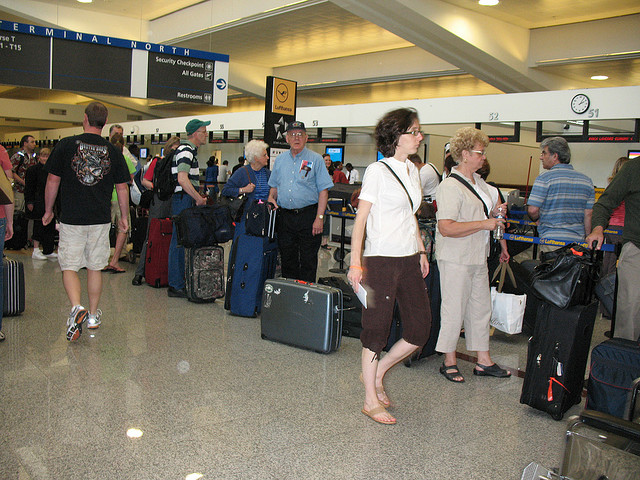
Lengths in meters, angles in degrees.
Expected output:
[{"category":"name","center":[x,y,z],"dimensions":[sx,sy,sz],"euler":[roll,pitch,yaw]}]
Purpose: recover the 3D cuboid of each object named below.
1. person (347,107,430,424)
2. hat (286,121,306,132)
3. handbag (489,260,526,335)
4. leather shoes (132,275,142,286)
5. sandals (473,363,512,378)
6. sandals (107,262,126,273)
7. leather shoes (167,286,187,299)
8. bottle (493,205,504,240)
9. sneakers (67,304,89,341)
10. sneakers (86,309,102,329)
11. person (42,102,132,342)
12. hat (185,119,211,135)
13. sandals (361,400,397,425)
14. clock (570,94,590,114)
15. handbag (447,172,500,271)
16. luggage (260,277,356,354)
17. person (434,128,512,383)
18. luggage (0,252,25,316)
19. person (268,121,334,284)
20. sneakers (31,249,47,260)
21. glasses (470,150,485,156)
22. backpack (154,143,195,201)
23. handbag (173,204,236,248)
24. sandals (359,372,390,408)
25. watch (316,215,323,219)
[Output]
[{"category":"person","center":[0.450,0.161,3.064],"dimensions":[0.562,1.975,0.430],"euler":[3,8,-1]},{"category":"hat","center":[-0.242,-1.176,4.977],"dimensions":[0.176,0.111,0.227],"euler":[2,8,-8]},{"category":"handbag","center":[1.587,0.489,4.155],"dimensions":[0.218,0.555,0.447],"euler":[-3,6,-12]},{"category":"leather shoes","center":[-2.326,0.500,6.162],"dimensions":[0.119,0.114,0.237],"euler":[0,9,-20]},{"category":"sandals","center":[1.376,1.047,3.851],"dimensions":[0.226,0.090,0.125],"euler":[0,1,1]},{"category":"sandals","center":[-2.877,0.392,6.825],"dimensions":[0.227,0.091,0.118],"euler":[-1,10,-22]},{"category":"leather shoes","center":[-1.687,0.625,5.699],"dimensions":[0.286,0.120,0.098],"euler":[-1,1,-11]},{"category":"bottle","center":[1.354,-0.114,3.660],"dimensions":[0.064,0.252,0.361],"euler":[6,8,19]},{"category":"sneakers","center":[-2.012,0.680,4.067],"dimensions":[0.160,0.335,0.155],"euler":[23,5,43]},{"category":"sneakers","center":[-2.024,0.713,4.373],"dimensions":[0.079,0.096,0.213],"euler":[-1,11,-6]},{"category":"person","center":[-2.023,-0.180,4.232],"dimensions":[0.536,2.025,0.676],"euler":[7,9,28]},{"category":"hat","center":[-1.464,-1.353,5.793],"dimensions":[0.264,0.210,0.412],"euler":[1,8,-16]},{"category":"sandals","center":[0.383,1.101,3.086],"dimensions":[0.103,0.062,0.167],"euler":[-10,17,-41]},{"category":"clock","center":[3.563,-1.872,6.601],"dimensions":[0.233,0.254,0.034],"euler":[20,16,39]},{"category":"handbag","center":[1.239,-0.184,3.786],"dimensions":[0.341,0.557,0.399],"euler":[12,30,35]},{"category":"luggage","center":[-0.170,0.650,4.277],"dimensions":[0.728,0.609,0.267],"euler":[8,9,31]},{"category":"person","center":[1.164,0.120,3.719],"dimensions":[0.657,1.944,0.476],"euler":[0,8,-20]},{"category":"luggage","center":[-2.883,0.466,4.535],"dimensions":[0.166,0.557,0.299],"euler":[-1,9,-28]},{"category":"person","center":[-0.258,-0.400,4.975],"dimensions":[0.703,1.618,0.431],"euler":[6,8,21]},{"category":"sneakers","center":[-4.309,0.212,7.395],"dimensions":[0.317,0.140,0.126],"euler":[9,7,38]},{"category":"glasses","center":[1.204,-0.666,3.659],"dimensions":[0.107,0.032,0.037],"euler":[-2,10,-35]},{"category":"backpack","center":[-1.712,-0.789,5.743],"dimensions":[0.290,0.510,0.533],"euler":[14,27,-20]},{"category":"handbag","center":[-1.313,-0.178,5.455],"dimensions":[0.688,0.500,0.359],"euler":[-10,11,-42]},{"category":"sandals","center":[0.389,1.031,3.364],"dimensions":[0.126,0.094,0.345],"euler":[-2,34,-26]},{"category":"watch","center":[0.006,-0.234,4.837],"dimensions":[0.066,0.041,0.064],"euler":[2,8,-12]}]
